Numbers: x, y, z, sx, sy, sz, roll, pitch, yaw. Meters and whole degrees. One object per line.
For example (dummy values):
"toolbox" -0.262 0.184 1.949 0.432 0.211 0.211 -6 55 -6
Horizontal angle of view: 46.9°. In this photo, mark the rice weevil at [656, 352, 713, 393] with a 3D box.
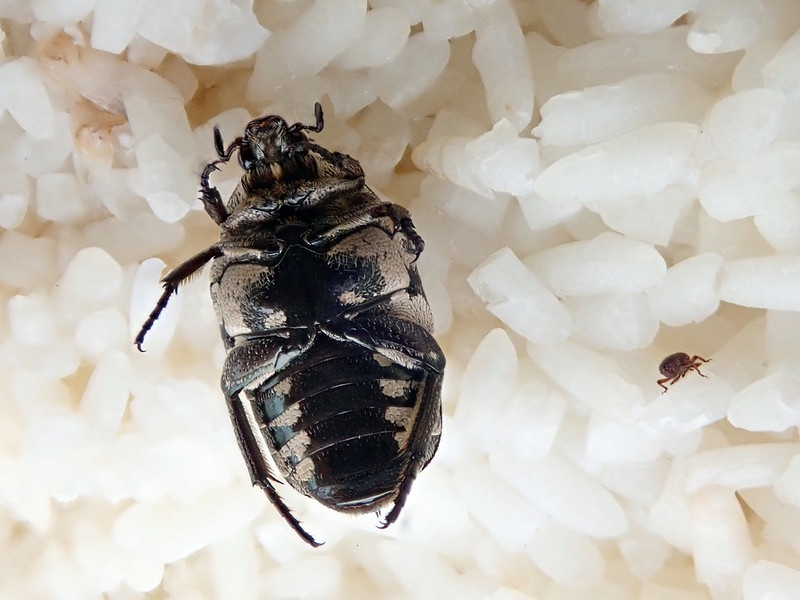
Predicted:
"rice weevil" 1.160 0.281 3.761 0.233 0.087 0.129 -17 75 -6
